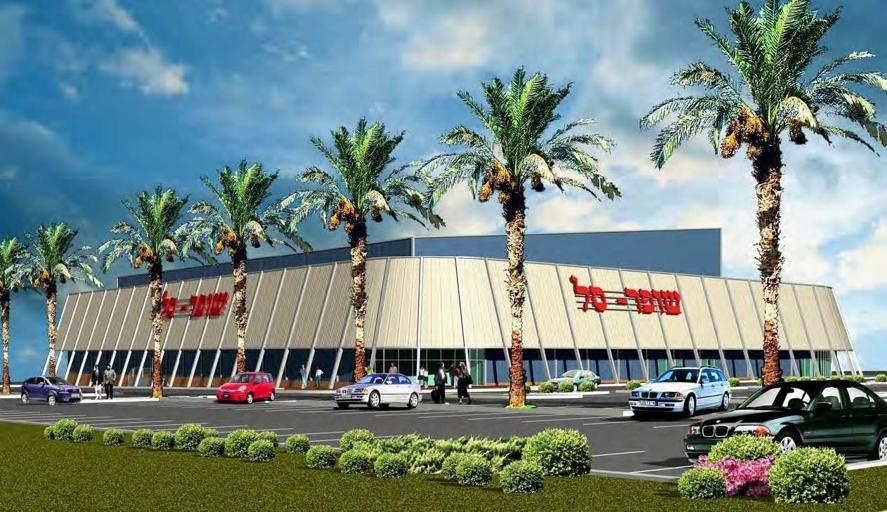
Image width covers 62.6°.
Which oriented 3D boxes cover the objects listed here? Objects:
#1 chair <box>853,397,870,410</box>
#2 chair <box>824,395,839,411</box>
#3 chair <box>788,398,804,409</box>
[{"bbox_3d":[12.827,4.457,22.404,0.461,0.409,0.399,1,-16,6],"label":"chair"},{"bbox_3d":[11.764,4.385,21.947,0.395,0.469,0.454,3,-18,6],"label":"chair"},{"bbox_3d":[10.563,4.389,21.856,0.296,0.358,0.314,-4,-22,20],"label":"chair"}]
